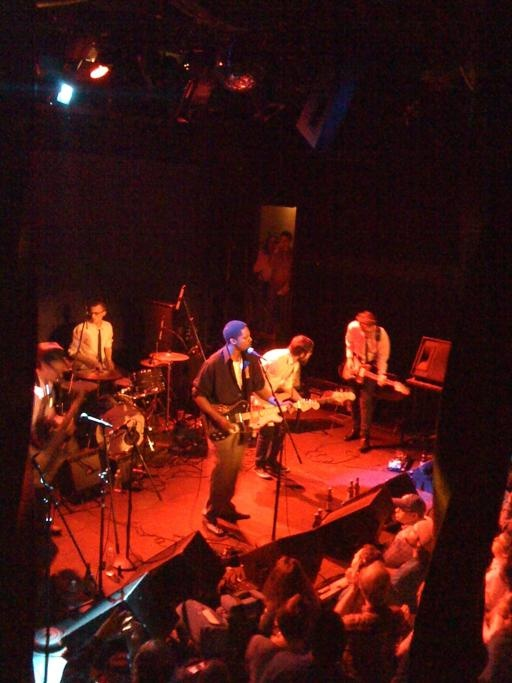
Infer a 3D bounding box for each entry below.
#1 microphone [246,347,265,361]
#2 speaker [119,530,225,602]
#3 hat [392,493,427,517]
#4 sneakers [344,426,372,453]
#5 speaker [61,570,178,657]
[{"bbox_3d":[-0.027,0.074,4.041,0.048,0.051,0.189,-24,18,-24],"label":"microphone"},{"bbox_3d":[-0.503,1.330,3.443,0.267,0.269,0.496,-33,-2,18],"label":"speaker"},{"bbox_3d":[1.082,1.149,4.092,0.174,0.096,0.127,19,9,21],"label":"hat"},{"bbox_3d":[1.265,1.178,7.247,0.160,0.293,0.492,-5,19,-19],"label":"sneakers"},{"bbox_3d":[-0.711,1.432,3.051,0.202,0.394,0.210,46,10,-42],"label":"speaker"}]
